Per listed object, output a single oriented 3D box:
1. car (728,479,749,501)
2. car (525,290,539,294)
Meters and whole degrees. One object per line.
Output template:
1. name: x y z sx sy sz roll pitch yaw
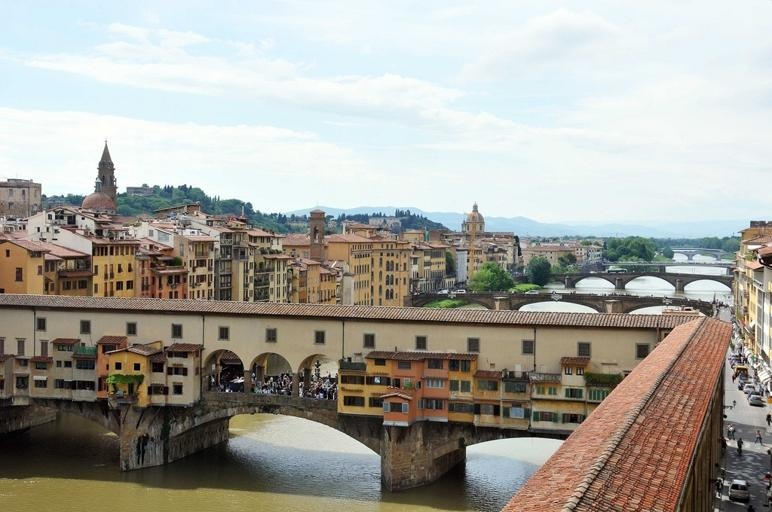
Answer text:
1. car: 25.338 16.983 79.984 1.045 0.737 1.722 -4 6 13
2. car: 27.037 6.726 207.723 1.654 0.676 0.902 4 -5 -21
